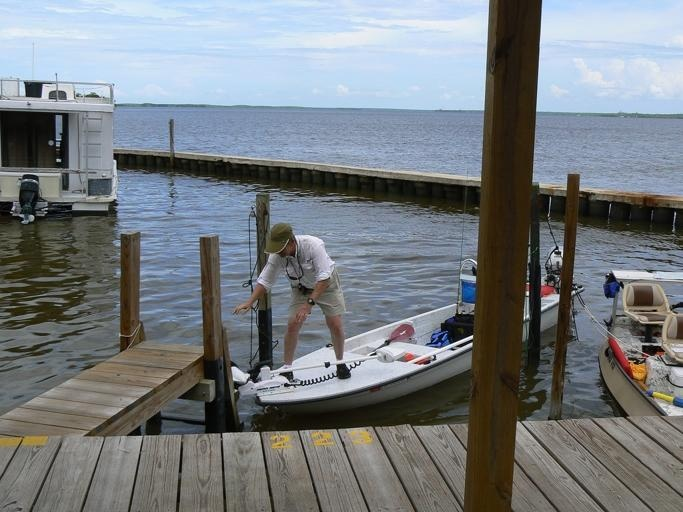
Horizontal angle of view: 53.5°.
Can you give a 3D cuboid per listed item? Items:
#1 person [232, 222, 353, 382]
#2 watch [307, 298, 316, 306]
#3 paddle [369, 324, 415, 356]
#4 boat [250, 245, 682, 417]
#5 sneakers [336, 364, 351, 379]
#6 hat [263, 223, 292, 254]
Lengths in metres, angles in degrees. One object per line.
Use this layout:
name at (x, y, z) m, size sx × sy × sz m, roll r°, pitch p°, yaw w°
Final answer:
person at (-0.475, 0.526, 7.420) m, size 0.752 × 1.854 × 0.979 m, roll 7°, pitch 13°, yaw 33°
watch at (-0.333, 0.473, 7.134) m, size 0.092 × 0.058 × 0.085 m, roll 36°, pitch -7°, yaw -10°
paddle at (0.778, 1.052, 9.116) m, size 0.960 × 0.127 × 0.225 m, roll -26°, pitch 67°, yaw -37°
boat at (1.493, 0.980, 8.370) m, size 1.340 × 1.318 × 5.721 m, roll 14°, pitch 17°, yaw 42°
sneakers at (0.007, 1.320, 7.775) m, size 0.117 × 0.199 × 0.216 m, roll 0°, pitch 14°, yaw 12°
hat at (-0.643, -0.187, 7.022) m, size 0.240 × 0.171 × 0.334 m, roll 8°, pitch 47°, yaw 25°
